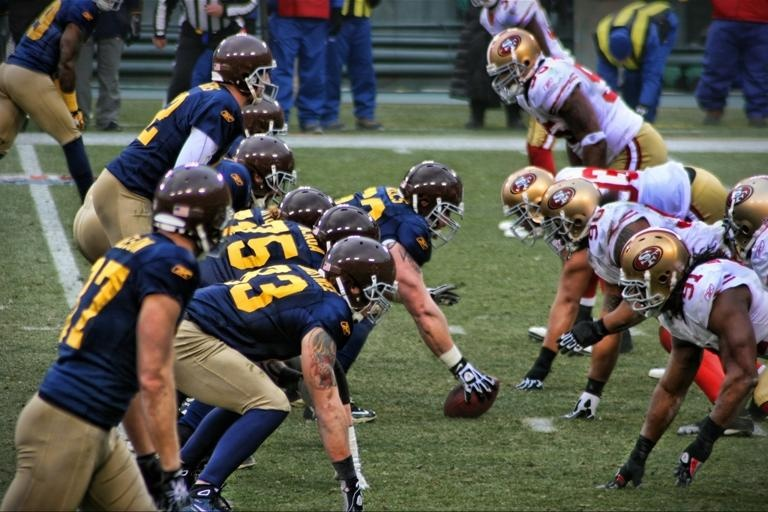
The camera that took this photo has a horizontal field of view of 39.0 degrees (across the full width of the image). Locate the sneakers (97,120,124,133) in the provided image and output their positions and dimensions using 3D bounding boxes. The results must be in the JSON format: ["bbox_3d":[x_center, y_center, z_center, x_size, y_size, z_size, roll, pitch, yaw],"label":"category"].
[{"bbox_3d":[-2.963,-1.390,11.749,0.285,0.114,0.100,4,15,-29],"label":"sneakers"}]

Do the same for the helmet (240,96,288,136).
[{"bbox_3d":[-0.899,-1.051,8.188,0.398,0.315,0.281,-13,15,-11],"label":"helmet"}]

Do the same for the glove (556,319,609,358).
[{"bbox_3d":[1.229,0.516,6.754,0.308,0.178,0.102,-26,-20,4],"label":"glove"}]

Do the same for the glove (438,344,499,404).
[{"bbox_3d":[0.516,0.754,6.916,0.365,0.307,0.134,37,-11,3],"label":"glove"}]

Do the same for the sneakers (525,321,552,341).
[{"bbox_3d":[1.113,0.550,7.865,0.140,0.126,0.357,-19,-5,5],"label":"sneakers"}]

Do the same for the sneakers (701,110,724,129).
[{"bbox_3d":[4.205,-1.758,13.893,0.275,0.256,0.132,0,45,-5],"label":"sneakers"}]

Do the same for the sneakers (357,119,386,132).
[{"bbox_3d":[-0.165,-1.581,12.984,0.331,0.135,0.120,-1,36,-2],"label":"sneakers"}]

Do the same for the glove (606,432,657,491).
[{"bbox_3d":[1.412,1.181,6.235,0.324,0.273,0.123,-6,18,-28],"label":"glove"}]

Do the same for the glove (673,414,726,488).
[{"bbox_3d":[1.764,1.107,6.177,0.244,0.432,0.164,-3,17,-18],"label":"glove"}]

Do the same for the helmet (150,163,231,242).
[{"bbox_3d":[-0.979,-0.285,5.573,0.416,0.393,0.311,-12,36,-39],"label":"helmet"}]

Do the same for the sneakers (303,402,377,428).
[{"bbox_3d":[-0.261,0.977,6.951,0.516,0.224,0.169,0,15,-3],"label":"sneakers"}]

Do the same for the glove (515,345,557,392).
[{"bbox_3d":[1.011,0.739,7.336,0.281,0.290,0.169,-3,17,-18],"label":"glove"}]

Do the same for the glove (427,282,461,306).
[{"bbox_3d":[0.408,0.273,7.641,0.327,0.126,0.102,10,28,-9],"label":"glove"}]

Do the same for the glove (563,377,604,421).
[{"bbox_3d":[1.312,0.905,6.983,0.343,0.248,0.155,-11,21,-40],"label":"glove"}]
